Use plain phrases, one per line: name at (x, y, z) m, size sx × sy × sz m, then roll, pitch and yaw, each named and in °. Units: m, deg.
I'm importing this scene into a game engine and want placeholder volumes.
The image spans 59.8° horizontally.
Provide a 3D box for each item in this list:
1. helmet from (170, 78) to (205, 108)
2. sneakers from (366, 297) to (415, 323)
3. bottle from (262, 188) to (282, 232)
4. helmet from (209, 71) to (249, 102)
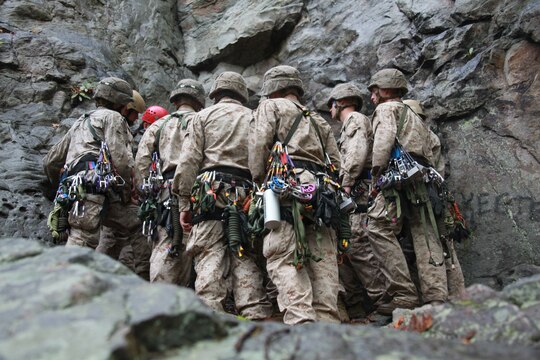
helmet at (-1.227, -1.321, 6.948) m, size 0.427 × 0.336 × 0.442 m, roll -1°, pitch -28°, yaw 15°
sneakers at (1.542, 1.670, 6.042) m, size 0.653 × 0.298 × 0.253 m, roll -15°, pitch -8°, yaw -1°
bottle at (0.023, 0.313, 5.085) m, size 0.185 × 0.445 × 0.163 m, roll 5°, pitch -9°, yaw -14°
helmet at (-0.550, -1.312, 6.359) m, size 0.410 × 0.317 × 0.410 m, roll 15°, pitch -27°, yaw -38°
